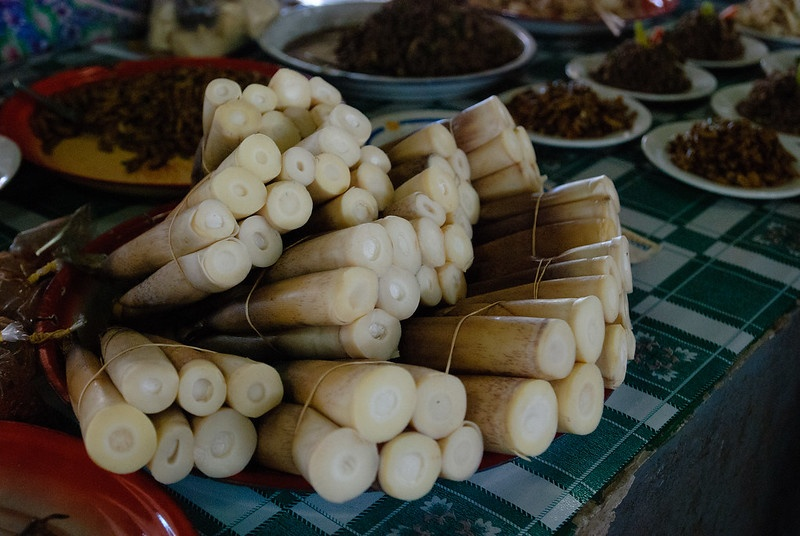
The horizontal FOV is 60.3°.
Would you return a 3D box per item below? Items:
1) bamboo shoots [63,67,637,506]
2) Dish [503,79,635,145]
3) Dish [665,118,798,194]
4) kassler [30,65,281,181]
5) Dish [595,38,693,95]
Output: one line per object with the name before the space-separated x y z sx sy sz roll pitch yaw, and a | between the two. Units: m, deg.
bamboo shoots | -0.054 0.029 1.049 0.930 0.272 0.657 -24 59 -13
Dish | 0.419 -0.379 1.685 0.198 0.071 0.218 23 35 32
Dish | 0.755 -0.227 1.557 0.192 0.078 0.205 13 38 14
kassler | -0.549 -0.315 1.519 0.290 0.268 0.500 9 23 36
Dish | 0.677 -0.539 1.880 0.188 0.074 0.187 -17 33 -37
